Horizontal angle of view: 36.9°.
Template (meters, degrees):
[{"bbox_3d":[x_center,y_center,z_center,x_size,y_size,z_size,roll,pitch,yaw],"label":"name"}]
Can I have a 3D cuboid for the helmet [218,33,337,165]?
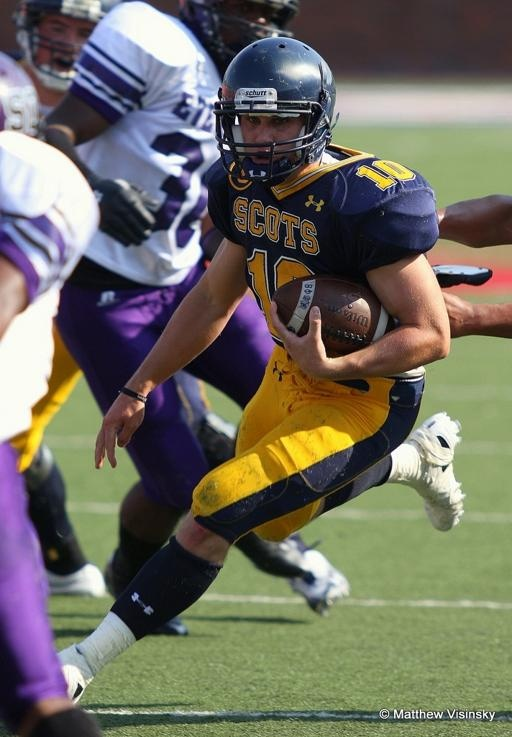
[{"bbox_3d":[0.040,-0.571,1.662,0.268,0.280,0.245,-3,-1,-1],"label":"helmet"}]

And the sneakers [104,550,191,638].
[{"bbox_3d":[-0.336,0.658,2.407,0.152,0.180,0.466,-7,14,-37],"label":"sneakers"}]

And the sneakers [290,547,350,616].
[{"bbox_3d":[0.182,0.648,2.447,0.139,0.101,0.282,36,4,-17],"label":"sneakers"}]

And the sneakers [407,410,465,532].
[{"bbox_3d":[0.526,0.277,2.224,0.194,0.354,0.143,-1,11,13],"label":"sneakers"}]

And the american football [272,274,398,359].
[{"bbox_3d":[0.166,-0.114,1.601,0.286,0.152,0.160,14,25,-12],"label":"american football"}]

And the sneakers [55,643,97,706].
[{"bbox_3d":[-0.350,0.596,1.486,0.057,0.086,0.120,-3,-1,13],"label":"sneakers"}]

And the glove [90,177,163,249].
[{"bbox_3d":[-0.362,-0.385,1.942,0.193,0.130,0.056,35,-35,-23],"label":"glove"}]
